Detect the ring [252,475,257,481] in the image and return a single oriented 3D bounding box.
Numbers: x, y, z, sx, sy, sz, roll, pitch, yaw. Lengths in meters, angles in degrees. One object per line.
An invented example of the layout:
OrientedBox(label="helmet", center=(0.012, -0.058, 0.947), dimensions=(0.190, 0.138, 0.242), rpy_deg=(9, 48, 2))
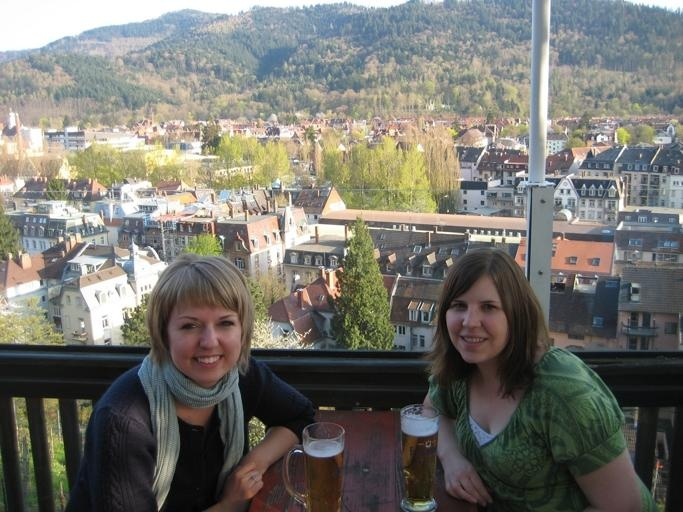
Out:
OrientedBox(label="ring", center=(-0.266, 0.676, 2.106), dimensions=(0.013, 0.004, 0.011), rpy_deg=(-6, 36, -15))
